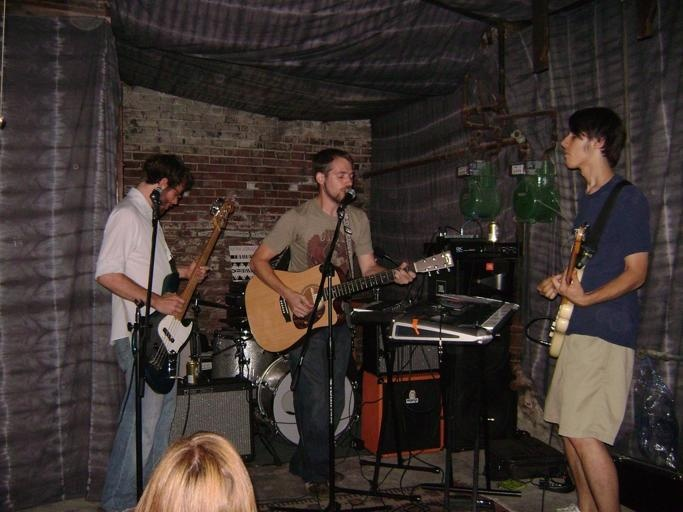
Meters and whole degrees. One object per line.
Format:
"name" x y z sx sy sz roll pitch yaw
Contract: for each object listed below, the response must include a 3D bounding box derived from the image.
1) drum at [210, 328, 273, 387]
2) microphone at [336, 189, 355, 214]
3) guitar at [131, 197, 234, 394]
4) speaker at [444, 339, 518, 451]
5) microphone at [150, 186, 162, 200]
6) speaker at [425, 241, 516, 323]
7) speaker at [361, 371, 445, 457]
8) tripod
"drum" -0.991 0.996 6.505 0.481 0.464 0.470 -8 -24 11
"microphone" 0.028 -0.356 4.571 0.061 0.077 0.200 -11 -38 -56
"guitar" -1.158 0.255 4.833 0.367 1.366 0.812 -3 -4 37
"speaker" 1.093 1.132 5.467 0.517 0.973 1.286 -1 -4 16
"microphone" -1.215 -0.405 4.556 0.057 0.102 0.129 0 -4 -8
"speaker" 1.048 0.243 5.695 0.674 0.655 0.492 2 -8 -25
"speaker" 0.509 1.223 6.016 0.813 0.859 0.624 0 -3 -13
"tripod" -0.123 0.927 4.862 0.633 1.694 0.880 1 -4 -22
